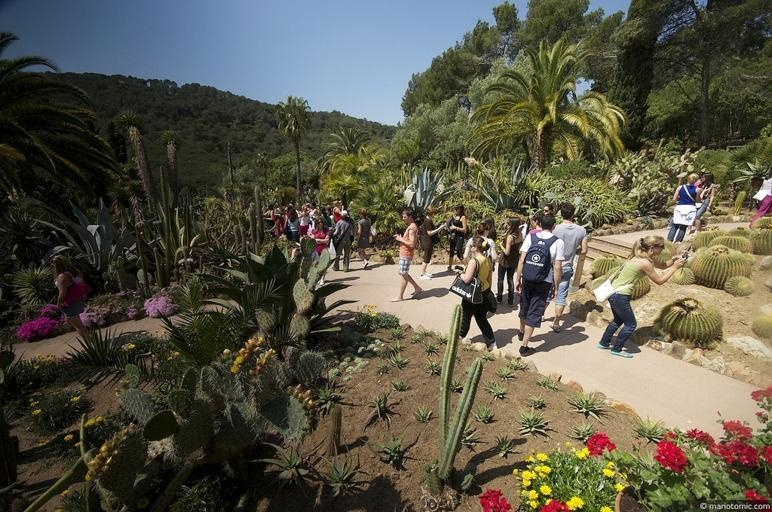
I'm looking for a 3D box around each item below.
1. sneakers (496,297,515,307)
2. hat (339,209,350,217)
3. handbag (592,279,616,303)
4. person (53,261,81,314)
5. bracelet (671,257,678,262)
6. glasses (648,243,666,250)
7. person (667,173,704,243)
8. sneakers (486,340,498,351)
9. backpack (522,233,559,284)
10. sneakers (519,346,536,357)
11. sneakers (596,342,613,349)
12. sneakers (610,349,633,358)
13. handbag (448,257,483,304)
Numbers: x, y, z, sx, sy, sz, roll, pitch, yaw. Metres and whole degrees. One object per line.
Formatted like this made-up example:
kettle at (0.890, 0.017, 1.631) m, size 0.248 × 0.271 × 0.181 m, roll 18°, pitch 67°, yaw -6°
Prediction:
sneakers at (2.507, 0.981, 8.647) m, size 0.312 × 0.116 × 0.140 m, roll 20°, pitch 15°, yaw 16°
hat at (-1.073, -1.110, 10.874) m, size 0.219 × 0.169 × 0.302 m, roll 2°, pitch 18°, yaw -27°
handbag at (3.711, 0.631, 6.921) m, size 0.128 × 0.369 × 0.283 m, roll 27°, pitch 32°, yaw -4°
person at (-6.001, 0.546, 7.819) m, size 0.396 × 1.087 × 0.365 m, roll -10°, pitch 16°, yaw -39°
bracelet at (4.611, 0.057, 6.592) m, size 0.107 × 0.044 × 0.103 m, roll -1°, pitch 2°, yaw 41°
glasses at (4.409, -0.160, 6.656) m, size 0.393 × 0.094 × 0.136 m, roll -10°, pitch 16°, yaw -40°
person at (7.447, -1.153, 10.275) m, size 0.497 × 1.723 × 0.715 m, roll 5°, pitch 13°, yaw 22°
sneakers at (1.818, 1.540, 7.031) m, size 0.147 × 0.155 × 0.150 m, roll -13°, pitch 24°, yaw -31°
backpack at (2.654, 0.029, 7.142) m, size 0.429 × 0.778 × 0.702 m, roll 6°, pitch 13°, yaw 26°
sneakers at (2.429, 1.632, 7.091) m, size 0.256 × 0.126 × 0.143 m, roll -5°, pitch 11°, yaw -27°
sneakers at (3.804, 1.564, 7.171) m, size 0.245 × 0.114 × 0.091 m, roll 0°, pitch 8°, yaw -17°
sneakers at (4.009, 1.668, 7.014) m, size 0.255 × 0.112 × 0.151 m, roll -1°, pitch 10°, yaw 15°
handbag at (1.445, 0.481, 7.393) m, size 0.677 × 0.874 × 0.286 m, roll 24°, pitch 10°, yaw 42°
